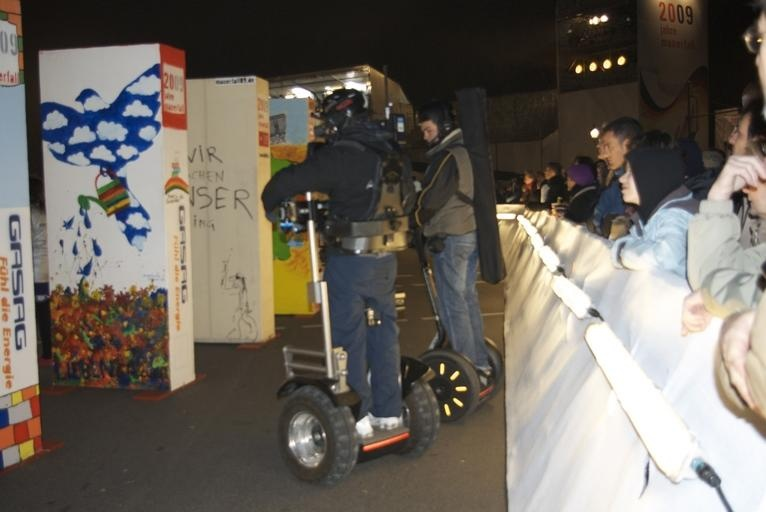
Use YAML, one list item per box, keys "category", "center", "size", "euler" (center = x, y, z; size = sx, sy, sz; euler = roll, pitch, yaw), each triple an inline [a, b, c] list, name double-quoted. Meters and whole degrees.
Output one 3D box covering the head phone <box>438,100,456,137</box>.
- category: "head phone"
  center: [0.601, -1.286, 5.659]
  size: [0.164, 0.426, 0.437]
  euler: [-1, 5, 7]
